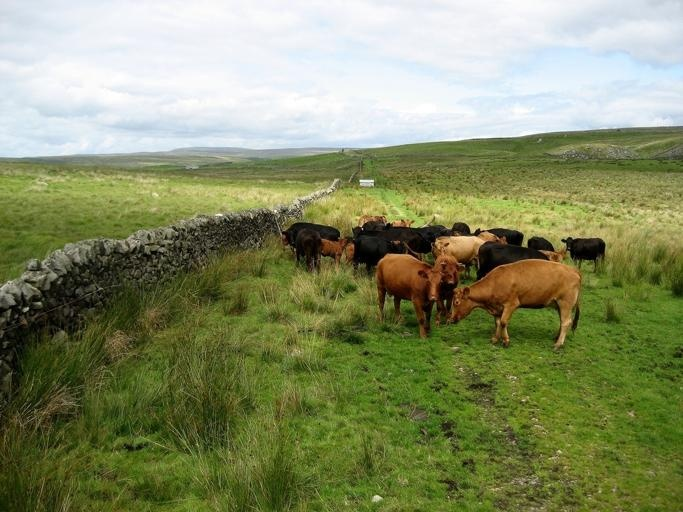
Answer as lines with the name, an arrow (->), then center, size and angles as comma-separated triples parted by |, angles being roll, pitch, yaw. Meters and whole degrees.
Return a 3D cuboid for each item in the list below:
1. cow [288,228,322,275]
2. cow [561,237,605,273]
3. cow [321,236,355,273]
cow -> -1.407, -0.312, 18.405 | 0.894, 1.598, 3.023 | -6, 11, -18
cow -> 9.968, -0.197, 18.571 | 0.919, 0.973, 1.898 | -4, 7, -30
cow -> -0.254, -0.088, 17.702 | 2.073, 1.127, 0.705 | 8, 5, 39
